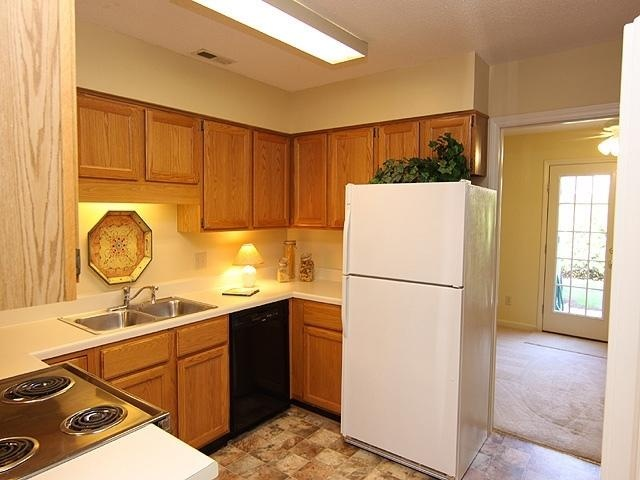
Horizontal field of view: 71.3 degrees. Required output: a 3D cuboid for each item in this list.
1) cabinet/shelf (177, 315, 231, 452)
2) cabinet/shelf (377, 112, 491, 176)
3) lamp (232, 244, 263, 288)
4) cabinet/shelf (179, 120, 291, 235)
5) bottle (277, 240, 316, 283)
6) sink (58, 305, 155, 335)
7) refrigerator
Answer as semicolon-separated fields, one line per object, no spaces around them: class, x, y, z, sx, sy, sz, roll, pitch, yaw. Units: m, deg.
cabinet/shelf;-0.781;0.955;2.987;0.150;0.843;0.416;13;11;37
cabinet/shelf;0.839;-0.686;3.486;0.833;0.489;0.276;3;6;39
lamp;-0.629;0.213;3.817;0.221;0.379;0.408;4;8;-11
cabinet/shelf;-0.690;-0.502;3.786;0.337;0.871;1.019;3;3;38
bottle;-0.244;0.164;4.207;0.347;0.407;0.429;1;1;45
sink;-1.355;0.519;2.868;0.272;0.164;0.273;3;0;35
refrigerator;0.683;0.523;3.153;1.061;1.894;0.701;11;10;33
